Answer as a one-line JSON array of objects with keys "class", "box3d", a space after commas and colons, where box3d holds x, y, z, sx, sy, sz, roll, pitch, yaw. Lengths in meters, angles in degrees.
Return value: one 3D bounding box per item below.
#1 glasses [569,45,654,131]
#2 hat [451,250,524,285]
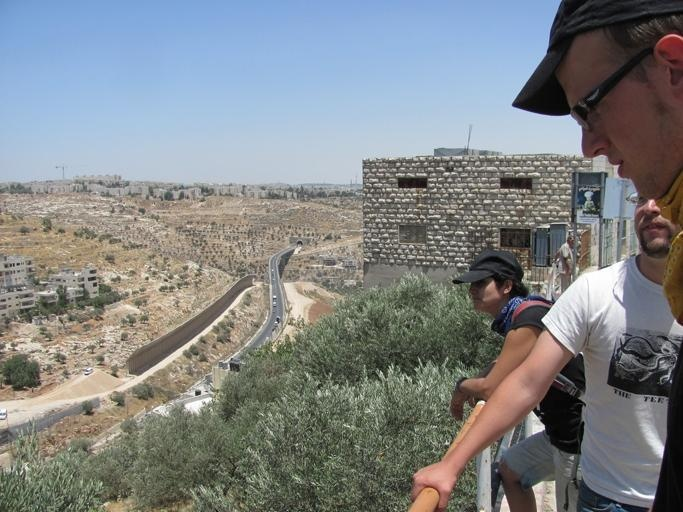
[{"class": "glasses", "box3d": [0.666, -0.426, 1.342, 0.068, 0.244, 0.238, 42, 16, 6]}, {"class": "hat", "box3d": [0.908, 0.076, 3.301, 0.320, 0.173, 0.219, 1, -8, 0]}]
